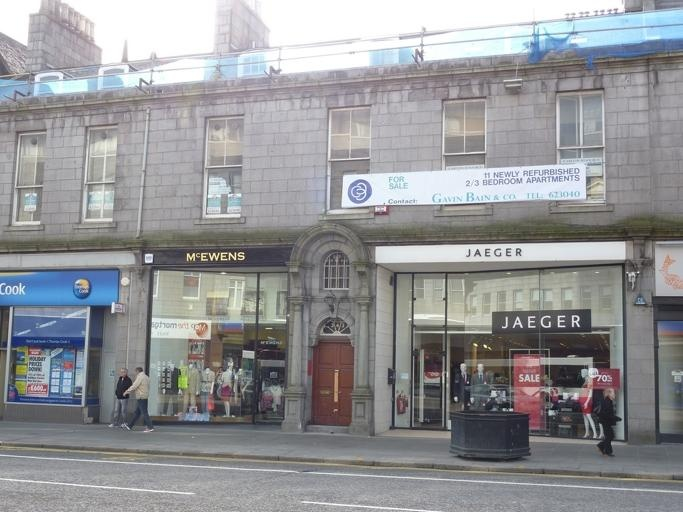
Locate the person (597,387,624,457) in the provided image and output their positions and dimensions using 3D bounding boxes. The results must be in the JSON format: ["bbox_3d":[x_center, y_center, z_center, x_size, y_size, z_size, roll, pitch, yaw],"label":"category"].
[{"bbox_3d":[7.350,4.579,28.427,0.622,1.811,1.313,-3,-10,14],"label":"person"}]

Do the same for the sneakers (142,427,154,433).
[{"bbox_3d":[-5.959,5.365,31.579,0.343,0.132,0.140,1,-3,6],"label":"sneakers"}]

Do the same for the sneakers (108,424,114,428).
[{"bbox_3d":[-7.421,5.459,33.033,0.106,0.103,0.255,3,-13,-15],"label":"sneakers"}]

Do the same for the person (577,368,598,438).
[{"bbox_3d":[7.419,4.456,31.043,0.489,2.086,0.498,-2,-10,12],"label":"person"}]

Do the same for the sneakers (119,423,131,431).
[{"bbox_3d":[-6.787,5.381,32.349,0.188,0.216,0.539,6,-2,-34],"label":"sneakers"}]
